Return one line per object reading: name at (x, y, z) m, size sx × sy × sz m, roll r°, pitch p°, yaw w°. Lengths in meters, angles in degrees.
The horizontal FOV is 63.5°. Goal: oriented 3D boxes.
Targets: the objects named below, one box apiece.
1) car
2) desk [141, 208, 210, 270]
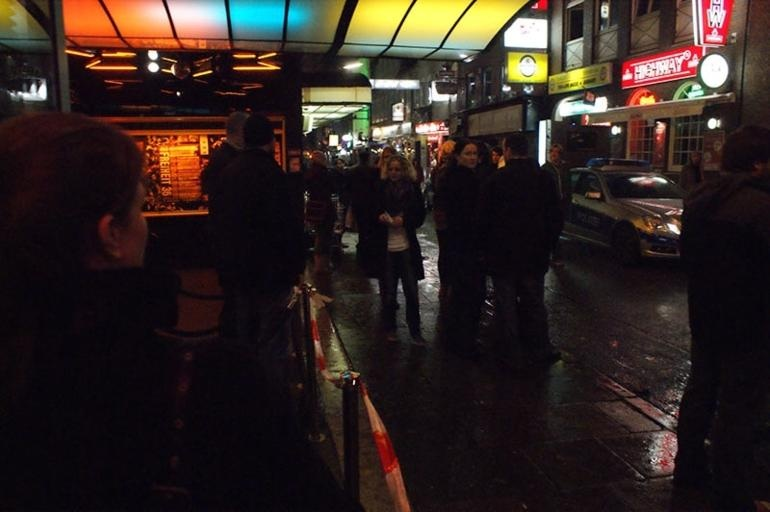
car at (4.514, -0.862, 11.599) m, size 1.687 × 1.472 × 3.557 m, roll -1°, pitch 5°, yaw -9°
desk at (-1.669, -0.128, 5.073) m, size 0.643 × 0.396 × 0.340 m, roll -1°, pitch -3°, yaw 1°
